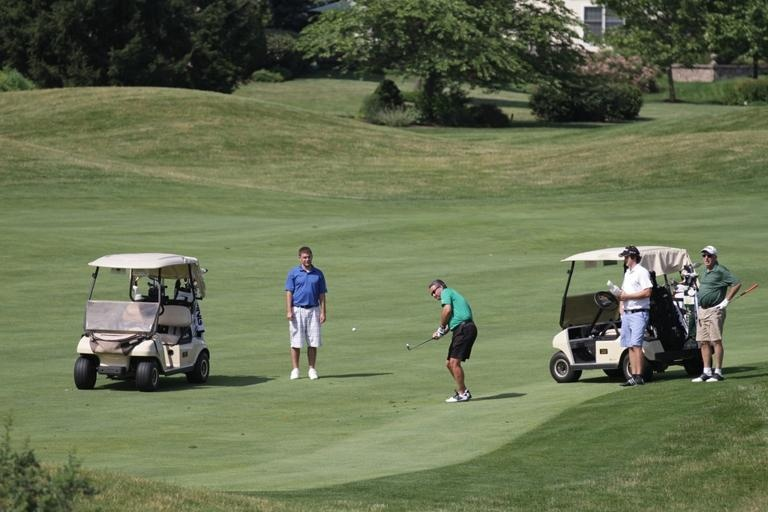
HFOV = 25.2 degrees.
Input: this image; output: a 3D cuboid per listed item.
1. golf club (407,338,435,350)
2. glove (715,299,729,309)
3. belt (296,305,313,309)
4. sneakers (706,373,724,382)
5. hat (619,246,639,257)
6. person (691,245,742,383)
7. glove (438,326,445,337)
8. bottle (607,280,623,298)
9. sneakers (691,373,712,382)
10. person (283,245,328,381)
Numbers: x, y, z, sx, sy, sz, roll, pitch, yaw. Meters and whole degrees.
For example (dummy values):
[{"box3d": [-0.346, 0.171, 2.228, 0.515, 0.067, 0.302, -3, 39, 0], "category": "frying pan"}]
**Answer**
[{"box3d": [1.167, 2.991, 56.860, 1.127, 0.357, 0.149, -19, -43, 27], "category": "golf club"}, {"box3d": [10.387, 1.556, 52.889, 0.363, 0.095, 0.223, -38, -36, 18], "category": "glove"}, {"box3d": [-2.547, 1.650, 54.498, 0.595, 0.148, 0.050, 1, 14, 1], "category": "belt"}, {"box3d": [10.143, 3.818, 52.741, 0.573, 0.211, 0.193, 2, -2, -3], "category": "sneakers"}, {"box3d": [7.612, -0.093, 53.225, 0.460, 0.246, 0.309, 3, -4, -5], "category": "hat"}, {"box3d": [10.127, 1.896, 52.944, 1.096, 4.018, 1.370, 4, 15, 15], "category": "person"}, {"box3d": [1.760, 2.406, 52.903, 0.219, 0.370, 0.363, 2, 14, 8], "category": "glove"}, {"box3d": [7.430, 1.145, 55.691, 0.341, 0.613, 0.338, -37, 14, 11], "category": "bottle"}, {"box3d": [9.765, 3.868, 53.002, 0.617, 0.227, 0.218, 0, 0, 9], "category": "sneakers"}, {"box3d": [-2.504, 1.917, 54.620, 1.186, 4.179, 0.811, -1, 14, -5], "category": "person"}]
